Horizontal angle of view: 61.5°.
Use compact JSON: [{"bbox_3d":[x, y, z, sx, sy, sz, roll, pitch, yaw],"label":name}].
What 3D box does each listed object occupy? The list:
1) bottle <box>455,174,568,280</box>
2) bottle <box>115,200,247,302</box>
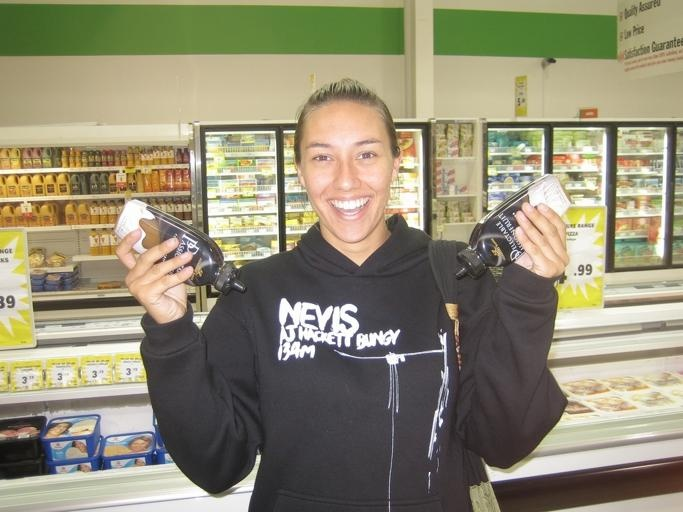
[{"bbox_3d":[0.568,-0.100,2.047,0.498,0.230,0.150,-38,3,1],"label":"bottle"},{"bbox_3d":[-0.552,-0.039,2.067,0.520,0.239,0.142,33,20,-1],"label":"bottle"}]
